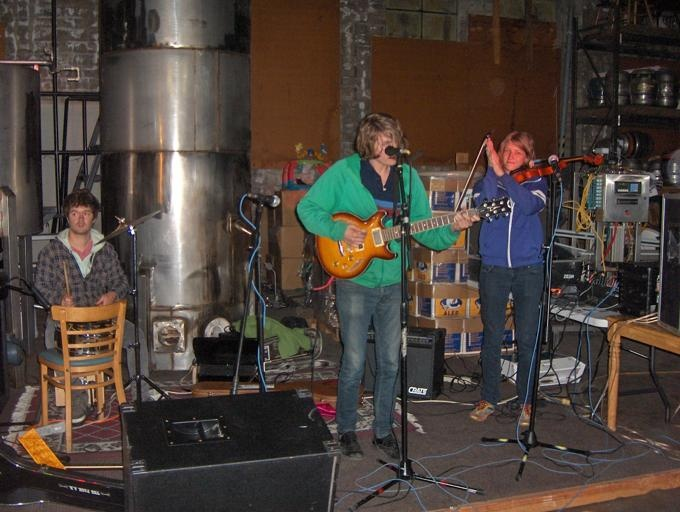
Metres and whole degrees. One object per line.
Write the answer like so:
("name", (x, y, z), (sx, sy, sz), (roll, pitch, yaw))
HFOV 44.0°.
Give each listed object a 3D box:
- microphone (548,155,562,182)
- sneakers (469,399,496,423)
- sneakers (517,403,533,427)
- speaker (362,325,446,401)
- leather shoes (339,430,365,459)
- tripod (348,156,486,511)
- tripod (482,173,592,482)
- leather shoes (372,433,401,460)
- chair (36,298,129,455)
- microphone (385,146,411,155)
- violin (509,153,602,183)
("microphone", (1.570, -0.646, 6.173), (0.102, 0.216, 0.052), (-25, 21, -24))
("sneakers", (1.221, 1.327, 7.199), (0.118, 0.115, 0.254), (10, 15, 42))
("sneakers", (1.550, 1.344, 7.013), (0.115, 0.217, 0.205), (1, -4, 3))
("speaker", (0.560, 0.924, 7.648), (0.772, 0.857, 0.596), (0, 1, 3))
("leather shoes", (0.077, 1.474, 6.521), (0.138, 0.178, 0.424), (1, -7, -9))
("tripod", (0.560, 0.499, 6.319), (0.856, 2.596, 0.997), (0, 4, 12))
("tripod", (1.591, 0.504, 6.658), (1.003, 2.280, 0.715), (-5, 6, -40))
("leather shoes", (0.380, 1.498, 6.616), (0.106, 0.127, 0.266), (0, 9, -42))
("chair", (-2.150, 0.948, 7.043), (0.721, 1.168, 0.829), (-3, 5, -20))
("microphone", (0.411, -0.762, 6.093), (0.171, 0.078, 0.201), (-1, 4, 1))
("violin", (1.574, -0.665, 6.457), (0.296, 0.149, 0.619), (-20, -2, -20))
